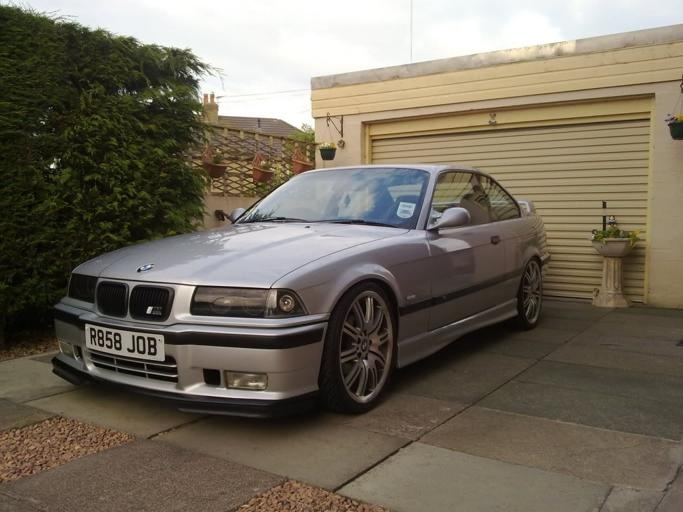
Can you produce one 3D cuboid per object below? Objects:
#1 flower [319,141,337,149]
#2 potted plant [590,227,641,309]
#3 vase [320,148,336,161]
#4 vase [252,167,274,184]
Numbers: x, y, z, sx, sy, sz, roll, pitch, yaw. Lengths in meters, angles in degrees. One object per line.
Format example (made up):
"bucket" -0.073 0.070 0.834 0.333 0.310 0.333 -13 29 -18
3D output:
"flower" -0.352 -2.422 9.824 0.399 0.188 0.259 2 5 25
"potted plant" 4.309 0.170 7.254 0.680 1.329 0.470 0 6 -3
"vase" -0.338 -2.223 9.822 0.341 0.266 0.271 3 6 32
"vase" -1.723 -1.704 9.618 0.393 0.260 0.401 11 8 -8
